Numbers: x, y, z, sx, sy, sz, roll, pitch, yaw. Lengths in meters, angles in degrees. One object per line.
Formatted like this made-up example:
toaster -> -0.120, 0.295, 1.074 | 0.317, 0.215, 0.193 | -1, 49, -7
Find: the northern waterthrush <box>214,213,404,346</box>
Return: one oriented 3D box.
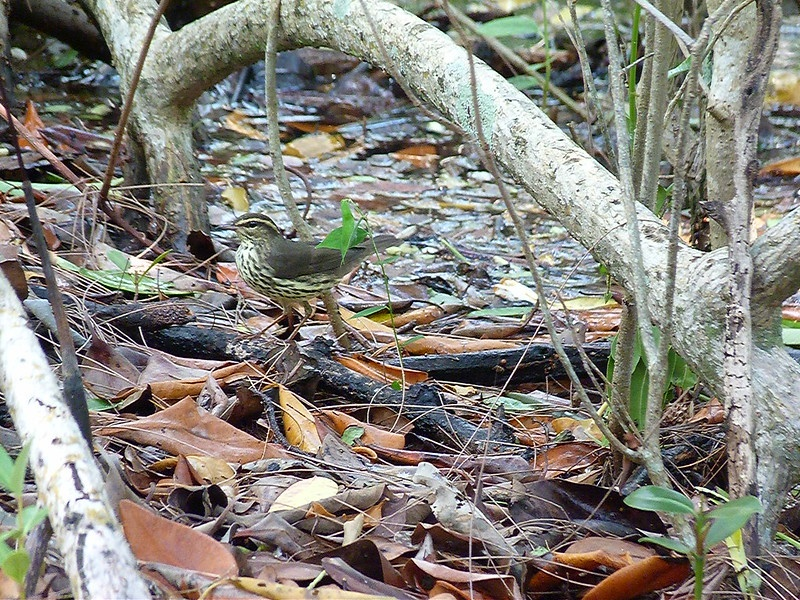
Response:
northern waterthrush -> -0.412, -0.162, 3.936 | 1.024, 0.500, 0.306 | -10, 13, -38
